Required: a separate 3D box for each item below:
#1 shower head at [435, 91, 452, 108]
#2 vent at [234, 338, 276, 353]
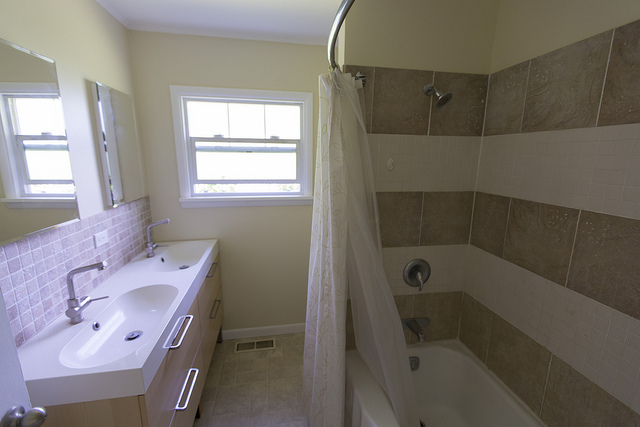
[{"bbox_3d":[0.809,-0.760,2.870,0.109,0.108,0.155,1,8,15],"label":"shower head"},{"bbox_3d":[-0.592,1.195,3.956,0.361,0.044,0.158,-2,7,-9],"label":"vent"}]
